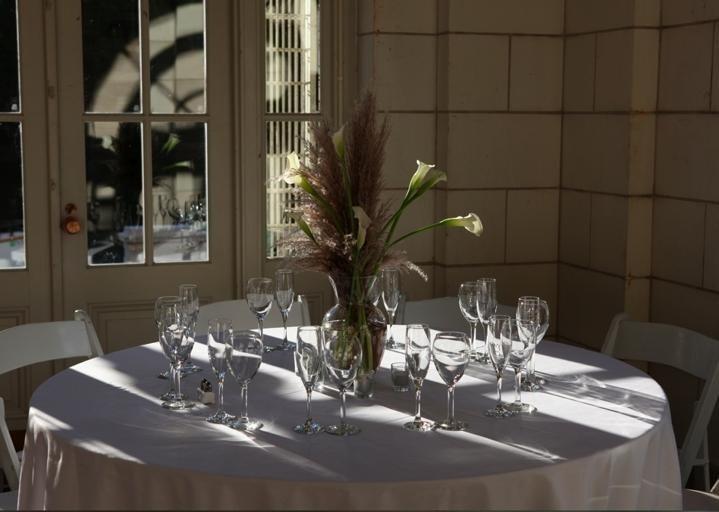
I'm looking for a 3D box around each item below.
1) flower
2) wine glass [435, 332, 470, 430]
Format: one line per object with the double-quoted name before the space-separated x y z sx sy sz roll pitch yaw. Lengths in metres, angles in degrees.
"flower" 0.088 -0.060 2.352 0.595 0.985 0.690 7 5 -12
"wine glass" 0.273 0.361 2.088 0.096 0.315 0.109 -4 19 -11
